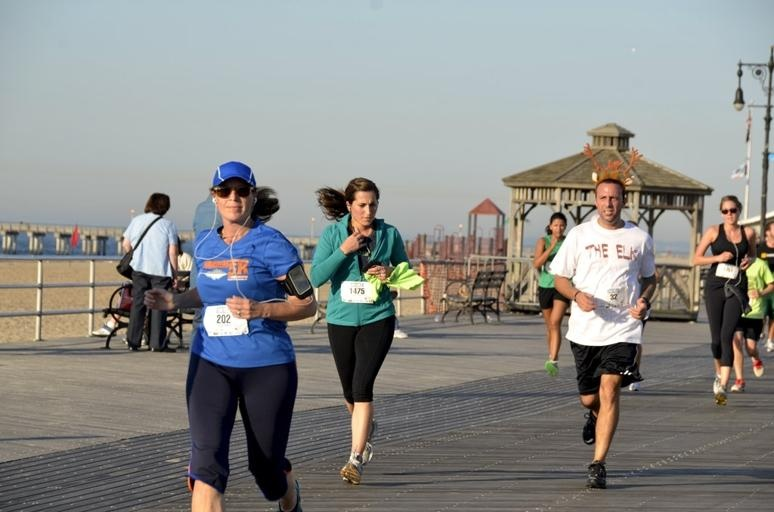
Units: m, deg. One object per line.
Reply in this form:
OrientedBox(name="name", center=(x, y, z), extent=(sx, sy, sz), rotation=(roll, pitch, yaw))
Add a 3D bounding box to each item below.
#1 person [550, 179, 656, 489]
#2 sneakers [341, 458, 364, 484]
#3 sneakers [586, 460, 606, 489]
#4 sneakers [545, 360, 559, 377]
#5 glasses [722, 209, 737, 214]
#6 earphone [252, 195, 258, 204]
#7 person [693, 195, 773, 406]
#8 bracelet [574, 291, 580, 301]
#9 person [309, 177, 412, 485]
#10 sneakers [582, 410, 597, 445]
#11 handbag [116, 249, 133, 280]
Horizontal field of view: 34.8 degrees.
OrientedBox(name="person", center=(2.047, 0.683, 11.614), extent=(0.925, 2.862, 0.756), rotation=(0, 1, 9))
OrientedBox(name="sneakers", center=(-0.322, 1.976, 11.378), extent=(0.191, 0.223, 0.218), rotation=(0, 1, -4))
OrientedBox(name="sneakers", center=(1.952, 1.996, 11.418), extent=(0.178, 0.243, 0.351), rotation=(0, 1, 9))
OrientedBox(name="sneakers", center=(2.075, 1.368, 15.473), extent=(0.199, 0.115, 0.291), rotation=(0, -38, 9))
OrientedBox(name="glasses", center=(4.080, -0.541, 14.662), extent=(0.199, 0.054, 0.119), rotation=(1, 1, 14))
OrientedBox(name="earphone", center=(-1.078, -0.461, 10.104), extent=(0.042, 0.047, 0.051), rotation=(2, -4, -25))
OrientedBox(name="person", center=(4.064, 0.512, 14.843), extent=(0.702, 2.458, 1.118), rotation=(1, 1, 14))
OrientedBox(name="bracelet", center=(1.786, 0.370, 11.555), extent=(0.049, 0.092, 0.070), rotation=(0, 1, 8))
OrientedBox(name="person", center=(-0.256, 0.672, 11.629), extent=(0.893, 2.803, 0.735), rotation=(0, 1, -1))
OrientedBox(name="sneakers", center=(2.034, 1.727, 12.378), extent=(0.142, 0.363, 0.155), rotation=(5, 2, 6))
OrientedBox(name="handbag", center=(-3.548, 0.118, 16.762), extent=(0.360, 0.325, 0.126), rotation=(-5, 12, -12))
